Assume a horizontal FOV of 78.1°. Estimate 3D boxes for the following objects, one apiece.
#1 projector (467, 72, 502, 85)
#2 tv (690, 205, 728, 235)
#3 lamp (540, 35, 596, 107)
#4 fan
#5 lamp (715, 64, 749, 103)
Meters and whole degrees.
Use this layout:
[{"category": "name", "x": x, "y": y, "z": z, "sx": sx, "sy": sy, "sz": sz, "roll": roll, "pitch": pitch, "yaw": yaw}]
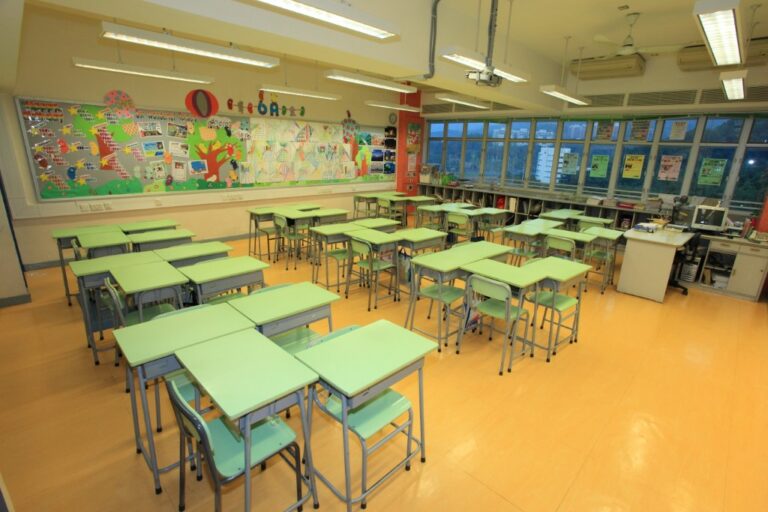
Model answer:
[{"category": "projector", "x": 1.460, "y": -2.458, "z": 6.656, "sx": 0.324, "sy": 0.081, "sz": 0.308, "roll": -5, "pitch": 23, "yaw": -35}, {"category": "tv", "x": 5.835, "y": -0.633, "z": 8.558, "sx": 0.571, "sy": 0.509, "sz": 0.321, "roll": 6, "pitch": 3, "yaw": 41}, {"category": "lamp", "x": 3.595, "y": -3.694, "z": 9.353, "sx": 1.363, "sy": 1.058, "sz": 0.258, "roll": -3, "pitch": 8, "yaw": -40}, {"category": "fan", "x": 4.025, "y": -3.597, "z": 7.761, "sx": 1.503, "sy": 0.601, "sz": 1.339, "roll": 10, "pitch": 13, "yaw": 23}, {"category": "lamp", "x": 5.460, "y": -2.721, "z": 7.471, "sx": 0.315, "sy": 0.393, "sz": 1.910, "roll": 9, "pitch": 17, "yaw": 34}]
